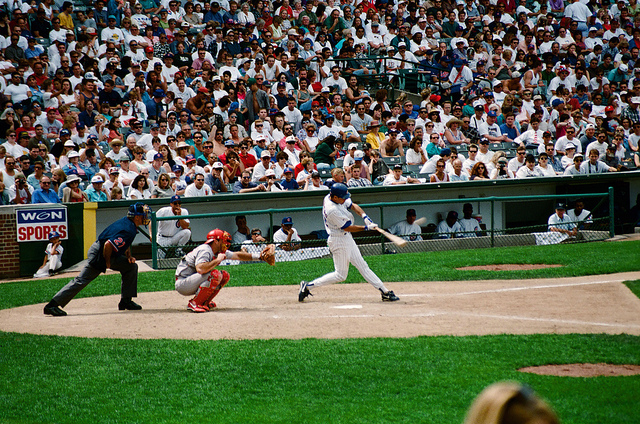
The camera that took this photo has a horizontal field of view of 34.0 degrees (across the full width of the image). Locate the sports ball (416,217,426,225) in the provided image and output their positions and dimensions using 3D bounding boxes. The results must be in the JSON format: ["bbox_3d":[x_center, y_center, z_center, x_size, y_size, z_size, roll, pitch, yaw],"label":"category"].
[{"bbox_3d":[3.071,0.268,31.615,0.308,0.231,0.082,-3,2,-38],"label":"sports ball"}]

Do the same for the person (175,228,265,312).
[{"bbox_3d":[-2.641,1.406,24.937,1.545,1.879,0.449,-2,2,-9],"label":"person"}]

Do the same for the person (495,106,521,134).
[{"bbox_3d":[6.295,-3.037,35.053,0.632,1.287,0.479,16,51,43],"label":"person"}]

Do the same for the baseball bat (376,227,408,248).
[{"bbox_3d":[2.021,0.733,29.345,0.164,0.069,0.955,-32,49,-30],"label":"baseball bat"}]

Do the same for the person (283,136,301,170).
[{"bbox_3d":[-0.873,-1.833,32.368,0.496,1.017,1.486,-2,2,-1],"label":"person"}]

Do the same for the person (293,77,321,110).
[{"bbox_3d":[-0.346,-3.955,35.206,0.966,1.056,0.593,0,15,10],"label":"person"}]

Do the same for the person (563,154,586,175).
[{"bbox_3d":[8.066,-1.475,33.123,0.432,0.862,0.315,19,2,-5],"label":"person"}]

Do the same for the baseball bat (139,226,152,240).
[{"bbox_3d":[-4.997,0.593,29.959,0.091,0.589,0.077,-29,22,41],"label":"baseball bat"}]

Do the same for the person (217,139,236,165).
[{"bbox_3d":[-2.791,-1.782,31.617,0.800,0.787,0.454,-2,7,-30],"label":"person"}]

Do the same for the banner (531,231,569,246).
[{"bbox_3d":[6.917,0.769,31.441,1.093,0.360,0.177,-2,2,8],"label":"banner"}]

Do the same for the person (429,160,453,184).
[{"bbox_3d":[3.747,-1.257,31.998,0.719,0.655,0.437,-4,2,-40],"label":"person"}]
